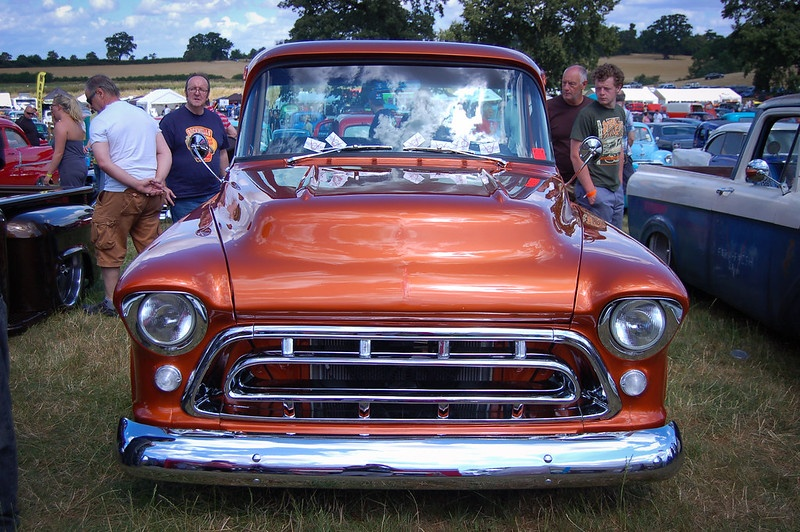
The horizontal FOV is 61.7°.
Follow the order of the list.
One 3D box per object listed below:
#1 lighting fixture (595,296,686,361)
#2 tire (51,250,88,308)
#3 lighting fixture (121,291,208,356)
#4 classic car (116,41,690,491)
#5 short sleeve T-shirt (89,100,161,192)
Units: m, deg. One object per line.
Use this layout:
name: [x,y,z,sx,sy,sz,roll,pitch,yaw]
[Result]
lighting fixture: [1.340,0.326,3.661,0.381,0.387,0.142,30,4,5]
tire: [-3.606,0.067,7.187,0.200,0.569,0.553,-15,32,-39]
lighting fixture: [-1.296,0.261,3.737,0.431,0.447,0.150,-1,24,-10]
classic car: [0.002,-0.222,4.391,3.208,2.343,2.322,-1,19,0]
short sleeve T-shirt: [-2.764,-1.247,6.814,0.405,0.834,0.723,19,29,30]
